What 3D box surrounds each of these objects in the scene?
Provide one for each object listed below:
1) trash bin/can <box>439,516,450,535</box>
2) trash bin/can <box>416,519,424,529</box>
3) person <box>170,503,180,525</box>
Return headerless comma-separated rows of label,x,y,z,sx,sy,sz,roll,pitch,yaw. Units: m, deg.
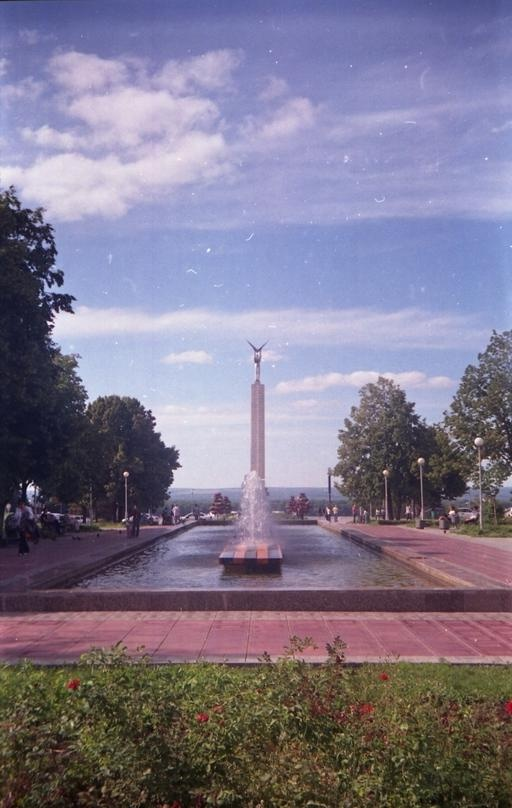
trash bin/can,7.543,4.860,32.912,0.369,0.768,0.537,-2,2,-24
trash bin/can,7.063,5.121,35.240,0.287,0.429,0.406,-1,-1,2
person,-4.199,5.757,42.987,0.519,0.656,0.968,-1,-22,-5
